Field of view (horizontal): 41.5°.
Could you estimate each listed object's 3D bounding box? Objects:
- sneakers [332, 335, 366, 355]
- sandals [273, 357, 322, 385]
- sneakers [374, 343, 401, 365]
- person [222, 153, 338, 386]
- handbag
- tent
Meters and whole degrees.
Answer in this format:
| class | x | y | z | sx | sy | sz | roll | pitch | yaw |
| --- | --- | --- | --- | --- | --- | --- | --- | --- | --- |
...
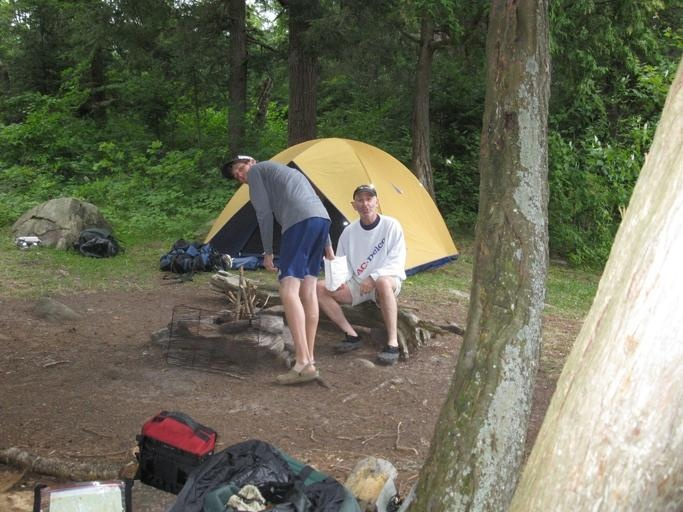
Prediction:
| class | x | y | z | sx | sy | sz | roll | pitch | yaw |
| --- | --- | --- | --- | --- | --- | --- | --- | --- | --- |
| sneakers | 0.109 | 1.212 | 12.234 | 0.382 | 0.205 | 0.181 | -5 | 4 | -31 |
| sandals | -0.524 | 1.476 | 11.373 | 0.502 | 0.224 | 0.273 | 1 | -3 | -8 |
| sneakers | 0.674 | 1.312 | 12.022 | 0.394 | 0.247 | 0.192 | 0 | 10 | -35 |
| person | -0.672 | 0.223 | 11.483 | 1.069 | 2.718 | 0.585 | 7 | 9 | 11 |
| handbag | -1.868 | 2.207 | 10.191 | 0.834 | 0.874 | 0.509 | 17 | 21 | 10 |
| tent | 0.562 | -1.183 | 16.029 | 2.929 | 1.506 | 2.737 | 0 | 11 | 14 |
